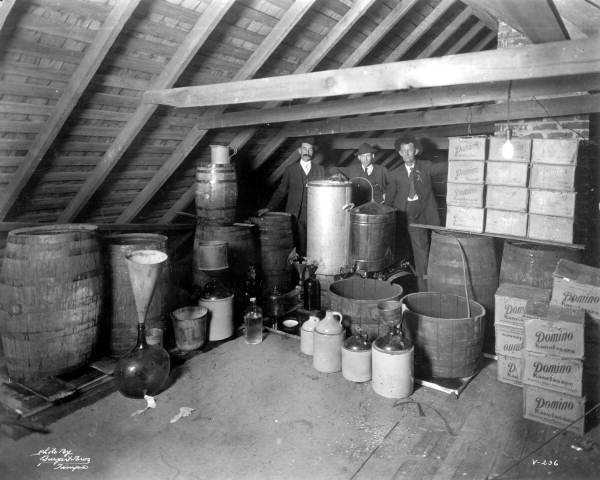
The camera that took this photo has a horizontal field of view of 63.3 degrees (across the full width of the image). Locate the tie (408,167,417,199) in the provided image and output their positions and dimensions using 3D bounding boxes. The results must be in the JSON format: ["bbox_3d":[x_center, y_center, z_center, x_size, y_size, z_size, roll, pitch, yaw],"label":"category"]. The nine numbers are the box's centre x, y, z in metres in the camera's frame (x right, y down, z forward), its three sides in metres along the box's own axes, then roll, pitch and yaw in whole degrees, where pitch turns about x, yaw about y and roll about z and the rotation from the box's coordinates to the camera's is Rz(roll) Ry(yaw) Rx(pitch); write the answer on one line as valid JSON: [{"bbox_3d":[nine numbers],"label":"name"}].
[{"bbox_3d":[1.127,-0.563,4.904,0.082,0.317,0.046,-1,4,11],"label":"tie"}]

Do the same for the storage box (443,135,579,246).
[{"bbox_3d":[1.526,-0.383,3.617,0.895,0.816,0.234,2,6,42],"label":"storage box"}]

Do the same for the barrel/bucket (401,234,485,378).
[{"bbox_3d":[1.240,0.565,3.725,0.626,0.940,0.620,0,6,0],"label":"barrel/bucket"}]

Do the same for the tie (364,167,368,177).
[{"bbox_3d":[0.721,-0.753,5.345,0.018,0.072,0.055,6,-5,-42],"label":"tie"}]

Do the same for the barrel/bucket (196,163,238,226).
[{"bbox_3d":[-0.848,-0.450,4.885,0.437,0.555,0.429,1,13,0],"label":"barrel/bucket"}]

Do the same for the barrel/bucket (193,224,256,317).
[{"bbox_3d":[-0.635,0.310,4.460,0.644,0.883,0.882,-3,4,-12],"label":"barrel/bucket"}]

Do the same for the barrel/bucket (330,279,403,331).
[{"bbox_3d":[0.596,0.542,3.971,0.472,0.415,0.466,4,-6,0],"label":"barrel/bucket"}]

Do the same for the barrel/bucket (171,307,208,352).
[{"bbox_3d":[-0.840,0.707,3.908,0.326,0.325,0.334,-3,2,0],"label":"barrel/bucket"}]

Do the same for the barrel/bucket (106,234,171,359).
[{"bbox_3d":[-1.271,0.425,3.839,0.465,0.918,0.486,-2,4,0],"label":"barrel/bucket"}]

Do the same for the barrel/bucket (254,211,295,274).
[{"bbox_3d":[-0.376,0.083,5.186,0.498,0.647,0.471,2,4,0],"label":"barrel/bucket"}]

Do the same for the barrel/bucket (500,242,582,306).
[{"bbox_3d":[1.794,0.218,3.667,0.463,0.396,0.449,1,7,0],"label":"barrel/bucket"}]
